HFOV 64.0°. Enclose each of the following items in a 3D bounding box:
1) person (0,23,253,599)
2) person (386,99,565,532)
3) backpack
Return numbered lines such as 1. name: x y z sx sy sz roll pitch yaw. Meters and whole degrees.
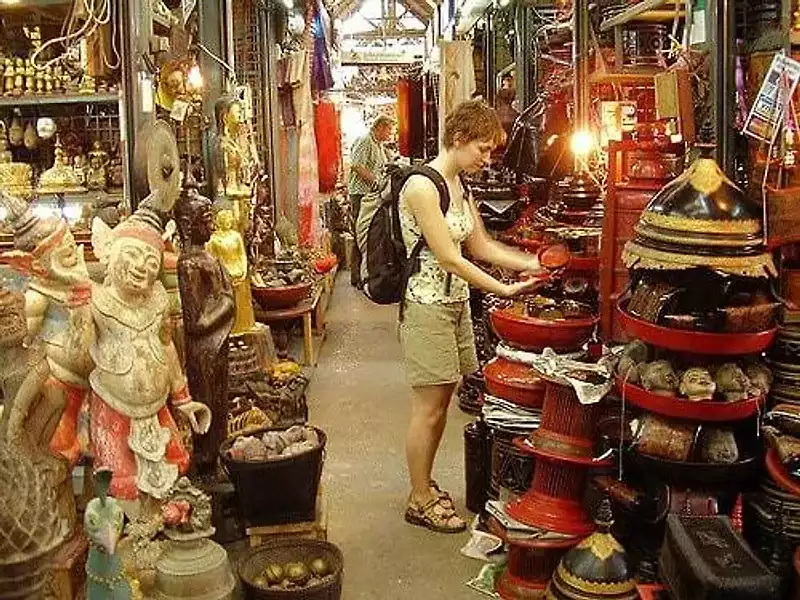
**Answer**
1. person: -1.213 0.197 2.890 0.771 1.392 1.250 -1 12 0
2. person: 0.301 0.108 3.239 0.583 2.173 0.614 -6 12 -21
3. backpack: 0.028 -0.351 3.364 0.468 0.732 0.493 -2 7 1
